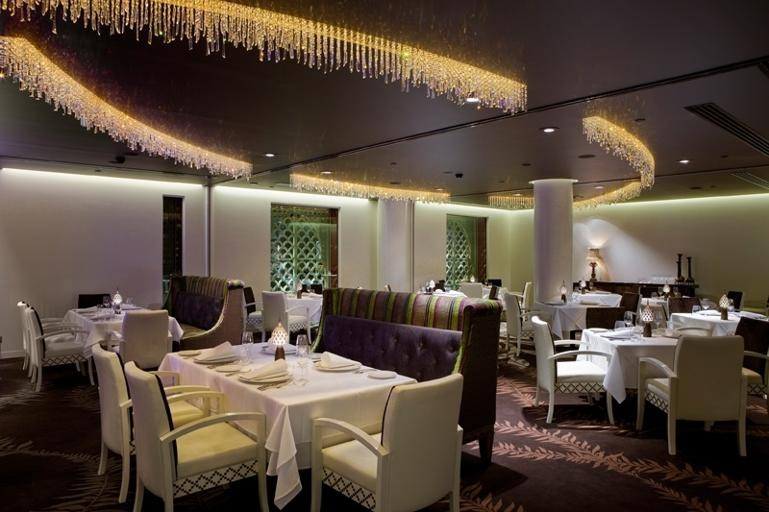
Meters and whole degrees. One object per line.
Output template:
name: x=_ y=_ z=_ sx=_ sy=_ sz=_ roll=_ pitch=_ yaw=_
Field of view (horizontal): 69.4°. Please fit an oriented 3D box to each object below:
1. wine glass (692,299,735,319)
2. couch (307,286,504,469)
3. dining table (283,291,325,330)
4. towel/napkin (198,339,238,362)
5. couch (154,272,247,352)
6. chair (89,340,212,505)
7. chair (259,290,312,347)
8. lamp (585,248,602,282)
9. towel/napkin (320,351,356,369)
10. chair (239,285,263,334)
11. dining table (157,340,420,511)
wine glass: x=5.737 y=0.950 z=9.704 sx=0.482 sy=0.196 sz=0.351 roll=2 pitch=0 yaw=-18
couch: x=-0.116 y=1.389 z=6.550 sx=2.541 sy=1.850 sz=1.345 roll=1 pitch=2 yaw=39
dining table: x=-1.817 y=1.304 z=11.584 sx=0.658 sy=0.949 sz=0.645 roll=-5 pitch=-2 yaw=-12
towel/napkin: x=-2.058 y=1.169 z=6.781 sx=0.412 sy=0.184 sz=0.414 roll=-5 pitch=-2 yaw=-13
couch: x=-3.508 y=1.154 z=9.924 sx=2.176 sy=1.565 sz=1.148 roll=3 pitch=4 yaw=43
chair: x=-2.619 y=1.586 z=6.476 sx=1.381 sy=2.387 sz=1.389 roll=-1 pitch=1 yaw=-31
chair: x=-1.989 y=1.193 z=11.093 sx=0.747 sy=1.098 sz=0.815 roll=3 pitch=8 yaw=35
lamp: x=5.935 y=0.271 z=15.674 sx=0.367 sy=0.872 sz=0.690 roll=3 pitch=11 yaw=14
towel/napkin: x=-0.480 y=1.121 z=5.812 sx=0.310 sy=0.135 sz=0.180 roll=9 pitch=-8 yaw=-32
chair: x=-2.818 y=1.266 z=12.415 sx=0.675 sy=1.073 sz=0.782 roll=-2 pitch=5 yaw=-12
dining table: x=-0.630 y=1.414 z=5.328 sx=1.382 sy=0.537 sz=2.002 roll=-2 pitch=3 yaw=-37
